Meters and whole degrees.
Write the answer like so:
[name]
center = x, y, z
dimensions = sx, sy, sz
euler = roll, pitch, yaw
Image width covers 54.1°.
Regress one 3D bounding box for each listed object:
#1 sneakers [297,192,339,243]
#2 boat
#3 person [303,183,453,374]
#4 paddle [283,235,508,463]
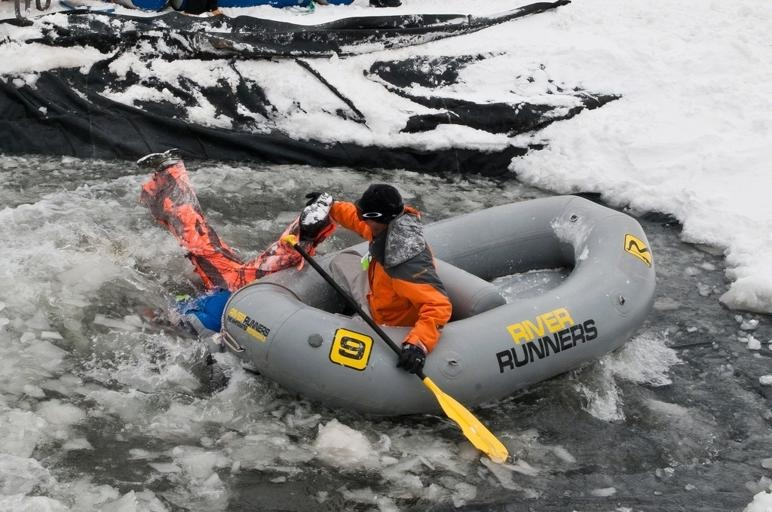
[sneakers]
center = -0.621, -0.360, 6.743
dimensions = 0.331, 0.182, 0.425
euler = 21, 60, -2
[boat]
center = 0.749, 0.697, 6.711
dimensions = 3.648, 0.974, 1.772
euler = -12, 43, -4
[person]
center = -0.091, 0.256, 6.402
dimensions = 0.937, 1.039, 1.522
euler = -12, 42, -18
[paddle]
center = 0.048, 0.843, 6.227
dimensions = 2.819, 0.139, 0.411
euler = 42, 86, 5
